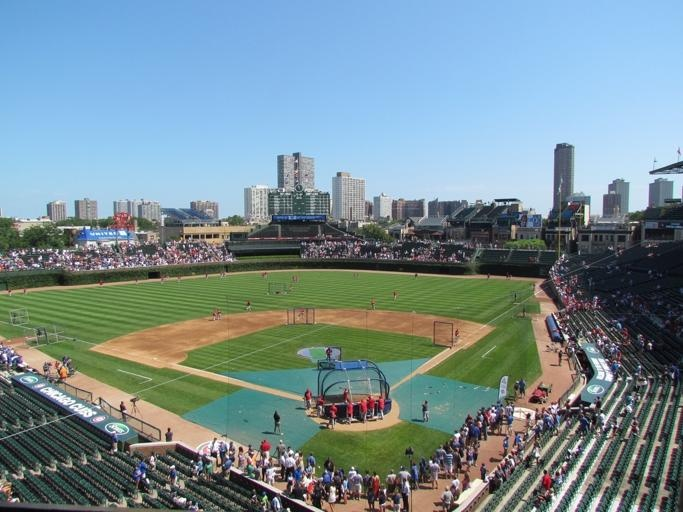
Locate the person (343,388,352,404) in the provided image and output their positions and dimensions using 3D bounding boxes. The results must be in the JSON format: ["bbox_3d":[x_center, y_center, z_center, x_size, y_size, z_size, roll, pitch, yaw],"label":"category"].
[{"bbox_3d":[0.371,9.658,47.749,0.926,1.073,0.710,1,-6,-6],"label":"person"}]
